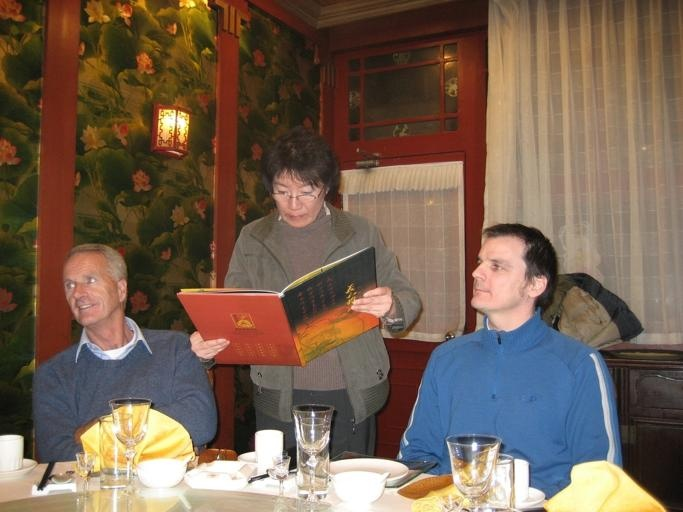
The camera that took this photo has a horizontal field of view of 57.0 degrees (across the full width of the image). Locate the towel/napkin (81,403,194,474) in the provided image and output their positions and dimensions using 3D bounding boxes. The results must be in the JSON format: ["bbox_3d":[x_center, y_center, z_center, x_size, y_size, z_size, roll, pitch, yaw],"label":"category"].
[{"bbox_3d":[-0.734,0.642,2.217,0.426,0.163,0.430,8,-6,2],"label":"towel/napkin"}]

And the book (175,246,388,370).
[{"bbox_3d":[-0.207,0.227,2.336,0.576,0.229,0.538,-6,-33,-11],"label":"book"}]

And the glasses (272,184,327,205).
[{"bbox_3d":[-0.188,-0.262,2.711,0.208,0.077,0.076,-1,-3,-1],"label":"glasses"}]

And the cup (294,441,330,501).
[{"bbox_3d":[-0.083,0.677,1.971,0.146,0.234,0.141,0,-12,0],"label":"cup"}]

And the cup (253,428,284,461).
[{"bbox_3d":[-0.247,0.642,2.141,0.098,0.109,0.105,1,-12,0],"label":"cup"}]

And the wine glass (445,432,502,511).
[{"bbox_3d":[0.384,0.628,1.805,0.130,0.205,0.134,-3,-3,39],"label":"wine glass"}]
